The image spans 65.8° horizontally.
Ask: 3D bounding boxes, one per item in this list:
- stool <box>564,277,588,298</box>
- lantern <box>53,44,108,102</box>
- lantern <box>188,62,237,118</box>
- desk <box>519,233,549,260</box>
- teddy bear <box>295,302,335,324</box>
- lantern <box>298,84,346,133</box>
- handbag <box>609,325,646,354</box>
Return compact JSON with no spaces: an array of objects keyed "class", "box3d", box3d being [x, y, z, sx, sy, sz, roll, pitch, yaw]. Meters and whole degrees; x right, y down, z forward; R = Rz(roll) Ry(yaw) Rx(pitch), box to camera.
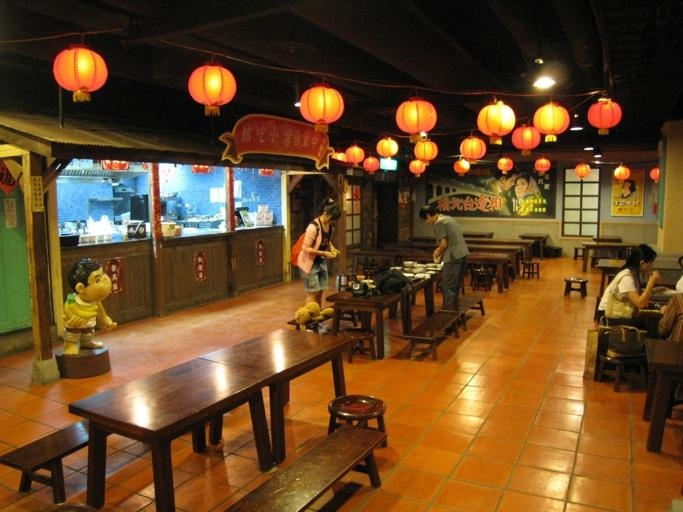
[{"class":"stool","box3d":[5.376,0.671,12.093,0.604,0.472,0.609,1,3,31]},{"class":"lantern","box3d":[-3.097,-2.149,6.239,0.572,0.621,0.565,-7,10,-37]},{"class":"lantern","box3d":[-1.625,-2.113,6.688,0.632,0.622,0.579,-3,8,-32]},{"class":"desk","box3d":[6.839,-0.359,18.812,0.965,0.895,0.974,0,3,31]},{"class":"teddy bear","box3d":[-0.458,0.874,8.183,0.334,0.156,0.482,-7,0,27]},{"class":"lantern","box3d":[-0.275,-2.086,7.439,0.615,0.644,0.608,1,-1,-37]},{"class":"handbag","box3d":[3.658,1.077,6.769,0.417,0.377,0.297,7,16,27]}]
